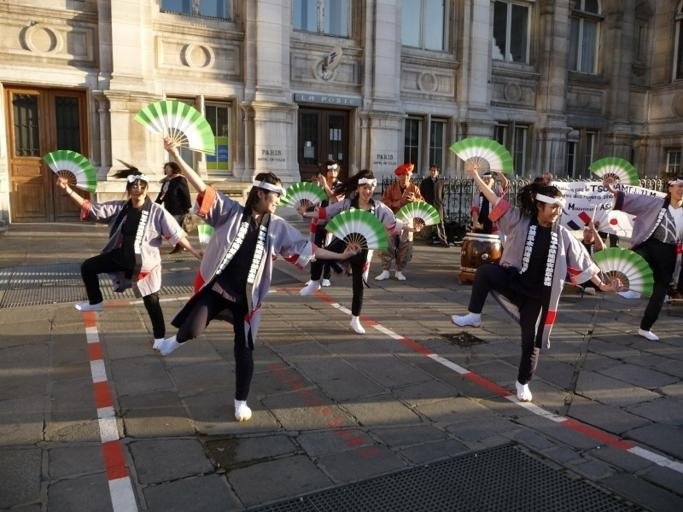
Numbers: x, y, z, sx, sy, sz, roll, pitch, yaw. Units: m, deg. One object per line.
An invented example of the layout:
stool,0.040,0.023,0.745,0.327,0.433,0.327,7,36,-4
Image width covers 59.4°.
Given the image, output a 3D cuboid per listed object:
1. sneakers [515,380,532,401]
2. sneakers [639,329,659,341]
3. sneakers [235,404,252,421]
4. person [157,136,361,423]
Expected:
sneakers,1.892,1.401,6.206,0.115,0.093,0.221,-2,10,1
sneakers,4.086,1.046,7.997,0.240,0.092,0.121,10,21,42
sneakers,-0.930,1.461,5.691,0.151,0.158,0.145,0,14,-9
person,-0.941,0.258,5.790,1.330,2.436,0.817,-2,14,-16
